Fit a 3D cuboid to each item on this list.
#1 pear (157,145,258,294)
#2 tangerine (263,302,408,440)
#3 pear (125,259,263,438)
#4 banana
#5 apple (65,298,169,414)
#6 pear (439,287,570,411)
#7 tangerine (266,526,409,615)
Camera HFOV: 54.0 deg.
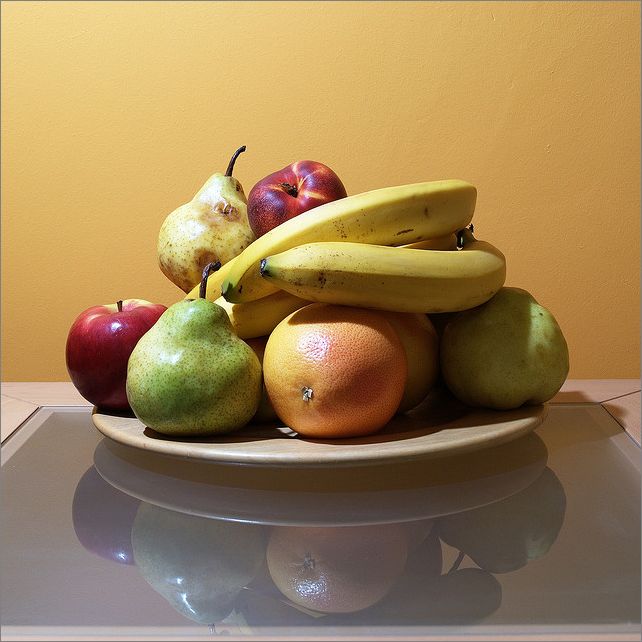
[{"bbox_3d":[-0.136,-0.131,0.814,0.112,0.202,0.121,13,0,-3],"label":"pear"},{"bbox_3d":[0.009,0.043,0.592,0.119,0.127,0.130,-4,5,-17],"label":"tangerine"},{"bbox_3d":[-0.110,0.023,0.543,0.119,0.176,0.115,5,1,-33],"label":"pear"},{"bbox_3d":[0.036,-0.043,0.605,0.297,0.075,0.149,-28,38,-13],"label":"banana"},{"bbox_3d":[-0.230,0.039,0.720,0.112,0.118,0.120,11,10,34],"label":"apple"},{"bbox_3d":[0.190,0.030,0.680,0.134,0.138,0.145,1,-15,-4],"label":"pear"},{"bbox_3d":[0.010,0.152,0.394,0.044,0.028,0.047,7,-14,-42],"label":"tangerine"}]
